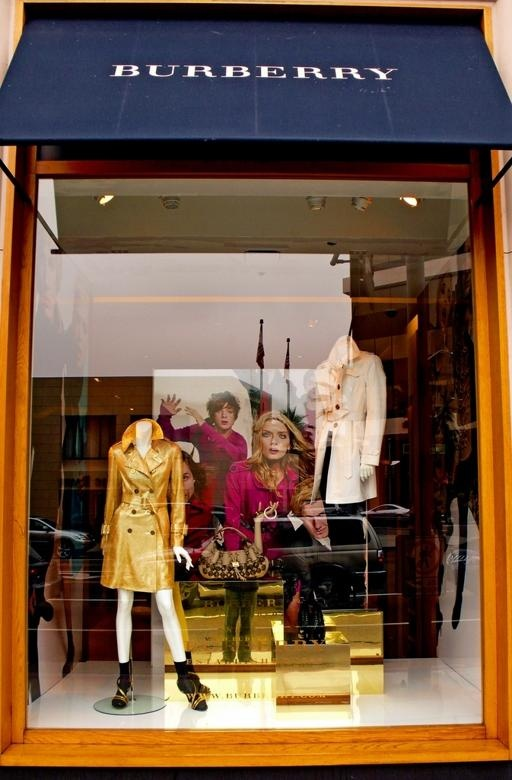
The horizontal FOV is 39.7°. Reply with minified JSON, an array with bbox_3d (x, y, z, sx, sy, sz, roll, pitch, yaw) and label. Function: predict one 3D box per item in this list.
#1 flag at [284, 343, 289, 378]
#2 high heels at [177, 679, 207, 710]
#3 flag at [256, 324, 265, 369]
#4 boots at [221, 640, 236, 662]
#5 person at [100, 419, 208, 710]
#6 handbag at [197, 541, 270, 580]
[{"bbox_3d":[0.174,-0.185,3.924,0.035,0.221,0.057,-2,-8,2],"label":"flag"},{"bbox_3d":[-0.244,1.219,2.830,0.089,0.082,0.180,2,-9,-23],"label":"high heels"},{"bbox_3d":[0.025,-0.261,3.990,0.048,0.283,0.030,-1,-8,0],"label":"flag"},{"bbox_3d":[-0.112,1.113,2.997,0.054,0.108,0.057,-2,-21,4],"label":"boots"},{"bbox_3d":[-0.445,0.702,3.005,0.482,1.167,0.365,-1,-8,-1],"label":"person"},{"bbox_3d":[-0.096,0.790,3.263,0.319,0.159,0.274,-1,-8,-1],"label":"handbag"}]
